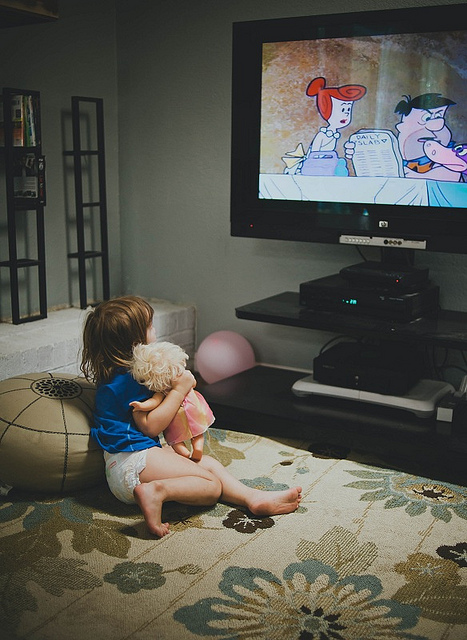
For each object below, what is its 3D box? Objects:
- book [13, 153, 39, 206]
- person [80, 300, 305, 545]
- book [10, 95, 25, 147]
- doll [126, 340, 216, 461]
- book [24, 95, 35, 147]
[{"bbox_3d":[-0.929,-0.627,2.429,0.177,0.216,0.060,-3,4,-8],"label":"book"},{"bbox_3d":[-0.186,0.262,1.767,0.834,0.776,0.446,-8,4,-19],"label":"person"},{"bbox_3d":[-0.923,-0.859,2.317,0.057,0.211,0.070,-1,6,-19],"label":"book"},{"bbox_3d":[-0.197,0.251,1.576,0.258,0.335,0.219,-8,-5,10],"label":"doll"},{"bbox_3d":[-0.889,-0.868,2.360,0.039,0.211,0.060,-1,6,-20],"label":"book"}]
